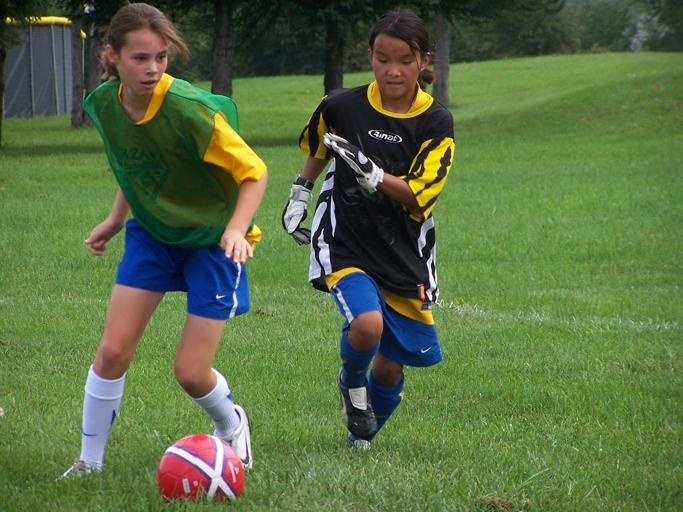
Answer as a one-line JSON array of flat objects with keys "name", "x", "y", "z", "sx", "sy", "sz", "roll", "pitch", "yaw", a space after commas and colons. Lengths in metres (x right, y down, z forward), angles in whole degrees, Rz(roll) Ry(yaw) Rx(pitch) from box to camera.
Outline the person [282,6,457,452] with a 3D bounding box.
[{"name": "person", "x": 0.188, "y": -0.132, "z": 5.248, "sx": 0.951, "sy": 2.702, "sz": 0.784, "roll": 2, "pitch": 13, "yaw": 8}]

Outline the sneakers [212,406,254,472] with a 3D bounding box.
[{"name": "sneakers", "x": -0.600, "y": 1.077, "z": 5.041, "sx": 0.142, "sy": 0.467, "sz": 0.194, "roll": -21, "pitch": -14, "yaw": 25}]

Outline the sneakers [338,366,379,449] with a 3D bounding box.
[{"name": "sneakers", "x": 0.094, "y": 0.999, "z": 5.408, "sx": 0.177, "sy": 0.569, "sz": 0.233, "roll": -12, "pitch": 5, "yaw": -13}]

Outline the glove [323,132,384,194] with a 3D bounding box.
[{"name": "glove", "x": 0.086, "y": -0.553, "z": 4.950, "sx": 0.384, "sy": 0.149, "sz": 0.243, "roll": 33, "pitch": 10, "yaw": -21}]

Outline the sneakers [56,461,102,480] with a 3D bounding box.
[{"name": "sneakers", "x": -1.464, "y": 1.211, "z": 4.787, "sx": 0.134, "sy": 0.048, "sz": 0.132, "roll": -13, "pitch": 13, "yaw": -43}]

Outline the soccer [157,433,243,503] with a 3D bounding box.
[{"name": "soccer", "x": -0.763, "y": 1.160, "z": 4.626, "sx": 0.475, "sy": 0.288, "sz": 0.267, "roll": -4, "pitch": 14, "yaw": -16}]

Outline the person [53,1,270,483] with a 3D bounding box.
[{"name": "person", "x": -0.963, "y": -0.032, "z": 4.769, "sx": 1.106, "sy": 2.685, "sz": 0.667, "roll": 2, "pitch": 13, "yaw": 7}]
